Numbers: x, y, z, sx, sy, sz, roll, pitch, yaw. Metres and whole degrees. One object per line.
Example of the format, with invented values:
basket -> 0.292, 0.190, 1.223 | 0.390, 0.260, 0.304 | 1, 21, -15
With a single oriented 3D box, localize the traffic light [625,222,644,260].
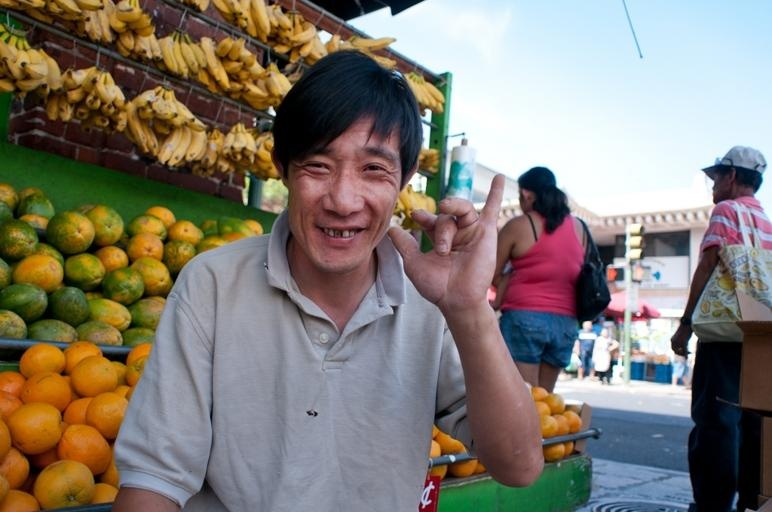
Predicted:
traffic light -> 5.726, -0.363, 13.409 | 0.302, 0.914, 1.591 | -1, -7, 23

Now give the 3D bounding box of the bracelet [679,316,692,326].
bracelet -> 2.472, 0.538, 4.808 | 0.072, 0.058, 0.074 | -3, 9, -20

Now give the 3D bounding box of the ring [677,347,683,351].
ring -> 2.446, 0.765, 4.854 | 0.043, 0.037, 0.011 | 7, 2, 17

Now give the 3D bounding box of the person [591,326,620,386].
person -> 6.740, 2.881, 17.713 | 0.571, 0.513, 1.399 | 8, -38, 20
